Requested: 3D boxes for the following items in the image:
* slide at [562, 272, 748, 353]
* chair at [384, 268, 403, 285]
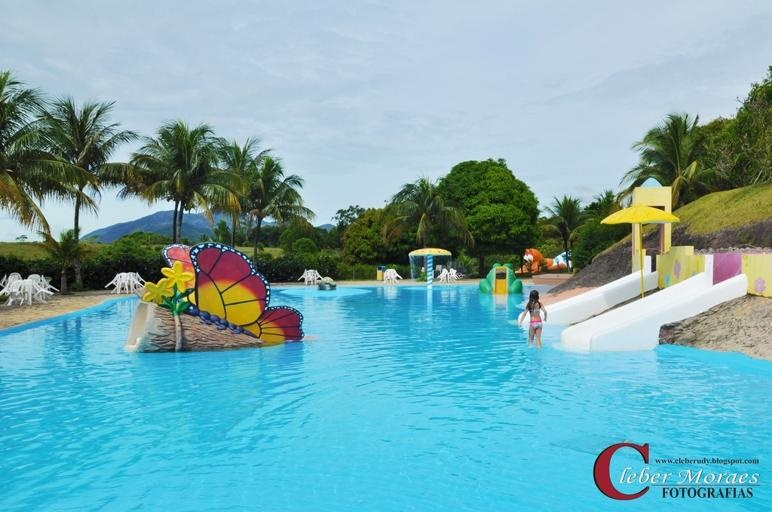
[{"bbox_3d":[6.832,1.429,13.956,4.605,1.673,1.483,-4,11,-16],"label":"slide"},{"bbox_3d":[0.606,1.551,41.228,1.155,0.712,0.927,1,-2,-24],"label":"chair"}]
